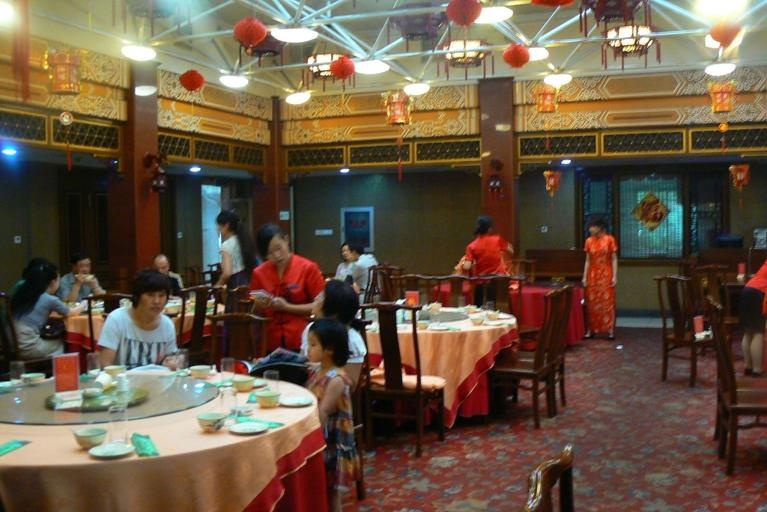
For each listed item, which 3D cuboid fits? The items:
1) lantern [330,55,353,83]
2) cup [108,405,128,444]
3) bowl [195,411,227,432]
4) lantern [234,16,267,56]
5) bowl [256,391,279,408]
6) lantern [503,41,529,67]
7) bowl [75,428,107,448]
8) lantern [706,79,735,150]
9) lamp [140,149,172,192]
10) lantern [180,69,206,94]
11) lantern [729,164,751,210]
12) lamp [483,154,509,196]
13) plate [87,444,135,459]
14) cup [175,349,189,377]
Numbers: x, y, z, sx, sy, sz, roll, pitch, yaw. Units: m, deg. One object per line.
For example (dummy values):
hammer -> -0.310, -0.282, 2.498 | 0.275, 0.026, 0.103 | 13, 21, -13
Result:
lantern -> -0.502, -2.218, 7.168 | 0.321, 0.340, 0.323 | -1, -1, -11
cup -> -1.422, 0.885, 3.263 | 0.098, 0.177, 0.174 | -4, 6, -25
bowl -> -0.929, 0.897, 3.358 | 0.106, 0.060, 0.110 | 2, -4, 0
lantern -> -1.392, -2.319, 6.281 | 0.355, 0.392, 0.346 | 6, 15, 25
bowl -> -0.699, 0.860, 3.673 | 0.098, 0.056, 0.102 | 1, -9, 0
lantern -> 1.554, -2.367, 7.150 | 0.281, 0.290, 0.282 | -2, 2, 13
bowl -> -1.536, 0.950, 3.196 | 0.132, 0.079, 0.139 | -1, 6, 0
lantern -> 4.644, -1.919, 8.356 | 0.363, 1.030, 0.361 | -13, 13, -27
lamp -> -3.453, -1.286, 9.205 | 0.331, 0.604, 0.276 | -3, 6, -21
lantern -> -2.506, -2.330, 7.990 | 0.259, 0.285, 0.414 | -2, 6, -12
lantern -> 6.384, -1.277, 10.939 | 0.322, 0.832, 1.018 | 2, 7, 30
lamp -> 1.854, -1.417, 10.380 | 0.355, 0.748, 0.254 | 0, 6, 10
plate -> -1.393, 0.997, 3.116 | 0.218, 0.041, 0.107 | 0, 6, 11
cup -> -1.382, 0.709, 4.155 | 0.049, 0.189, 0.101 | 11, 9, 42
